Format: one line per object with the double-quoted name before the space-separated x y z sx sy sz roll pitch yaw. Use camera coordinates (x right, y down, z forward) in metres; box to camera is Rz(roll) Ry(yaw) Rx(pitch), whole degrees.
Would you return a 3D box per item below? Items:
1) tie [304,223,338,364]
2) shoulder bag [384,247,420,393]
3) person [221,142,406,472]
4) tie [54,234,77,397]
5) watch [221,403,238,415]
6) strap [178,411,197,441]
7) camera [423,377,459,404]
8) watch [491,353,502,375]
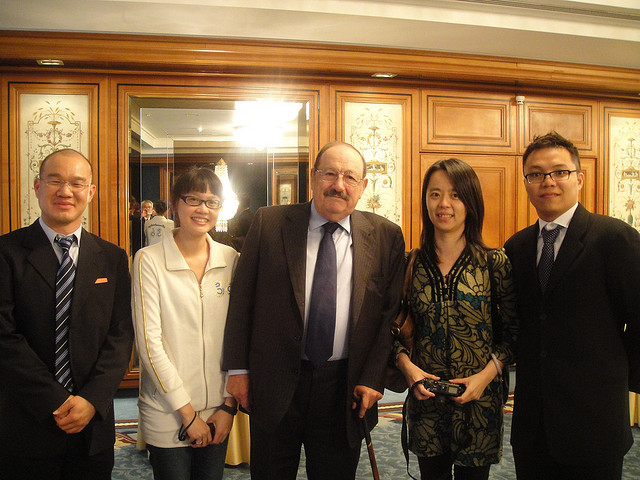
"tie" -0.001 0.329 2.620 0.186 0.992 0.096 6 33 6
"shoulder bag" 0.484 0.474 2.825 0.153 0.729 0.206 4 8 6
"person" -0.039 0.360 2.696 0.951 1.790 0.468 2 3 12
"tie" -1.362 0.395 2.629 0.112 0.854 0.115 1 -7 -28
"watch" -0.501 0.935 2.682 0.065 0.026 0.060 19 -19 35
"strap" -0.717 0.997 2.605 0.097 0.125 0.032 44 7 -48
"camera" 0.653 0.820 2.663 0.192 0.114 0.071 10 8 6
"watch" 0.970 0.682 2.692 0.021 0.086 0.063 -31 -2 8
